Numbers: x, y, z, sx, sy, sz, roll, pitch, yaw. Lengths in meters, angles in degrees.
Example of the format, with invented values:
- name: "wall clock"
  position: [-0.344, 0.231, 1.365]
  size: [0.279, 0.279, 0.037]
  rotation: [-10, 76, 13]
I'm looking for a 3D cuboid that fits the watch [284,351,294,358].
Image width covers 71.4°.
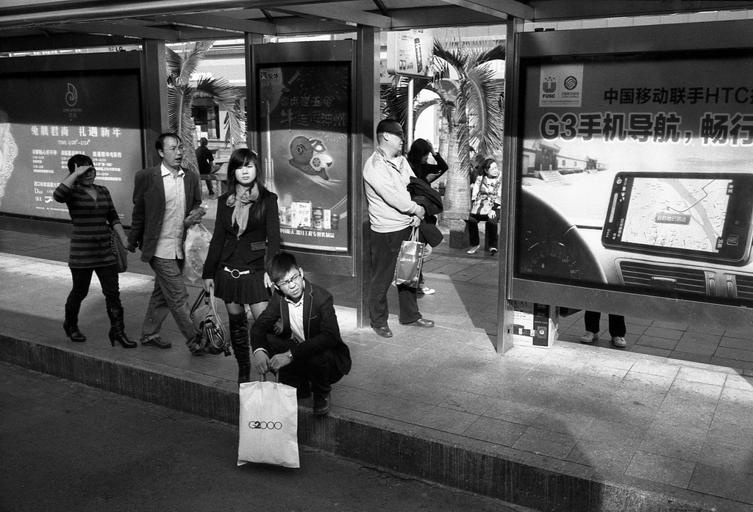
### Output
- name: "watch"
  position: [-0.772, 0.865, 4.647]
  size: [0.049, 0.023, 0.069]
  rotation: [6, 26, -9]

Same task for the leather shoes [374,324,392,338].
- name: "leather shoes"
  position: [0.095, 0.983, 6.859]
  size: [0.097, 0.115, 0.279]
  rotation: [-8, 9, -34]

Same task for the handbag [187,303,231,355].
- name: "handbag"
  position: [-1.952, 0.844, 6.276]
  size: [0.308, 0.696, 0.389]
  rotation: [-6, -1, -12]

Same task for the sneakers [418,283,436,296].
- name: "sneakers"
  position: [0.808, 0.552, 8.620]
  size: [0.341, 0.229, 0.142]
  rotation: [-9, 24, -13]

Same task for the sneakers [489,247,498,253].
- name: "sneakers"
  position: [2.579, -0.141, 11.507]
  size: [0.171, 0.118, 0.209]
  rotation: [4, 19, 8]

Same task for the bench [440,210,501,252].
- name: "bench"
  position: [2.031, -0.637, 12.142]
  size: [0.553, 0.622, 0.975]
  rotation: [-2, 19, -44]

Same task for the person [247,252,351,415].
- name: "person"
  position: [-0.698, 0.721, 4.909]
  size: [1.035, 1.412, 0.934]
  rotation: [-6, 6, -28]

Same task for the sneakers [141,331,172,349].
- name: "sneakers"
  position: [-2.715, 1.046, 6.528]
  size: [0.451, 0.190, 0.166]
  rotation: [3, 8, -1]

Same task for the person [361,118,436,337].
- name: "person"
  position: [0.251, -0.375, 6.837]
  size: [0.746, 2.737, 0.620]
  rotation: [-3, 13, -15]

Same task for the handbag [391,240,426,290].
- name: "handbag"
  position: [0.406, 0.113, 6.712]
  size: [0.379, 0.598, 0.238]
  rotation: [1, 13, 2]

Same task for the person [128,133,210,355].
- name: "person"
  position: [-2.433, -0.164, 6.354]
  size: [1.004, 2.580, 0.626]
  rotation: [4, 13, 19]

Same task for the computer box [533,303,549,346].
- name: "computer box"
  position: [2.006, 0.835, 6.382]
  size: [0.134, 0.521, 0.178]
  rotation: [11, -11, -39]

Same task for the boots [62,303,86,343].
- name: "boots"
  position: [-3.822, 0.862, 6.671]
  size: [0.462, 0.450, 0.197]
  rotation: [8, 6, 31]

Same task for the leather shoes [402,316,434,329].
- name: "leather shoes"
  position: [0.584, 0.904, 7.208]
  size: [0.444, 0.173, 0.166]
  rotation: [-3, 4, 12]

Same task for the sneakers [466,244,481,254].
- name: "sneakers"
  position: [2.141, -0.162, 11.592]
  size: [0.134, 0.134, 0.376]
  rotation: [-2, 8, 35]

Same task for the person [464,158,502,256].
- name: "person"
  position: [2.362, -1.115, 11.471]
  size: [0.680, 2.033, 0.704]
  rotation: [2, 13, 10]

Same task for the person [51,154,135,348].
- name: "person"
  position: [-3.515, -0.088, 6.551]
  size: [0.980, 2.306, 0.579]
  rotation: [3, 13, 15]
